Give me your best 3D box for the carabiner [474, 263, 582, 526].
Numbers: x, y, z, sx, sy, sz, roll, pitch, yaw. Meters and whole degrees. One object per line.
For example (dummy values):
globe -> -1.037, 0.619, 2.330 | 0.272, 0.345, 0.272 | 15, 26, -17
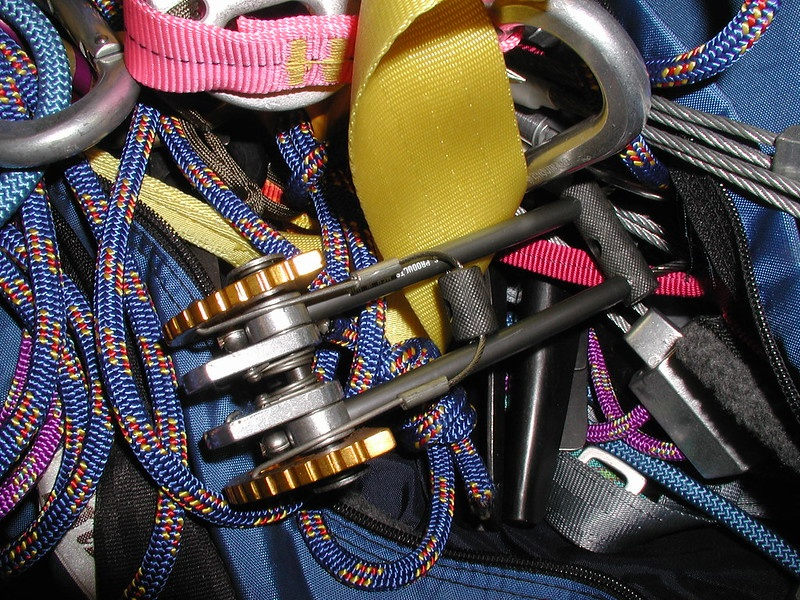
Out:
carabiner -> 0.205, 0.141, 1.081 | 0.066, 0.087, 0.314 | 11, 93, 14

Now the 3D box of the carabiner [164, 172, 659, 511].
carabiner -> 0.030, 0.040, 0.919 | 0.527, 0.141, 0.306 | -18, 62, -11

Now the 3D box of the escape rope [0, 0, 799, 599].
escape rope -> 0.000, 0.017, 1.080 | 0.810, 0.227, 0.579 | -24, 84, -6
